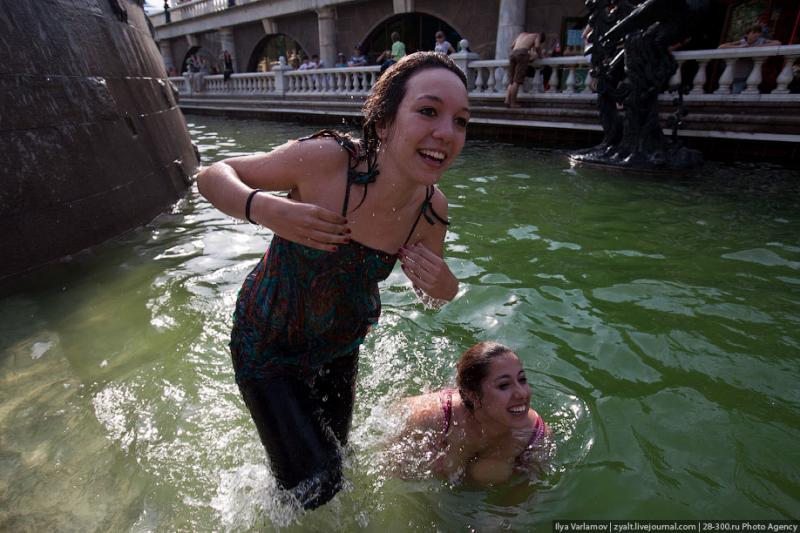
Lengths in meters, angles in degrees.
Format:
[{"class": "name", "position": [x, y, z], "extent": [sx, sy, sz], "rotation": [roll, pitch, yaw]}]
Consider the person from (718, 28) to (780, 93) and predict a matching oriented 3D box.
[{"class": "person", "position": [8.108, -4.850, 10.999], "extent": [0.972, 1.356, 1.752], "rotation": [17, 32, 31]}]

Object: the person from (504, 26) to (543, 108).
[{"class": "person", "position": [3.545, -5.695, 13.484], "extent": [1.090, 2.255, 0.814], "rotation": [8, 8, -38]}]
